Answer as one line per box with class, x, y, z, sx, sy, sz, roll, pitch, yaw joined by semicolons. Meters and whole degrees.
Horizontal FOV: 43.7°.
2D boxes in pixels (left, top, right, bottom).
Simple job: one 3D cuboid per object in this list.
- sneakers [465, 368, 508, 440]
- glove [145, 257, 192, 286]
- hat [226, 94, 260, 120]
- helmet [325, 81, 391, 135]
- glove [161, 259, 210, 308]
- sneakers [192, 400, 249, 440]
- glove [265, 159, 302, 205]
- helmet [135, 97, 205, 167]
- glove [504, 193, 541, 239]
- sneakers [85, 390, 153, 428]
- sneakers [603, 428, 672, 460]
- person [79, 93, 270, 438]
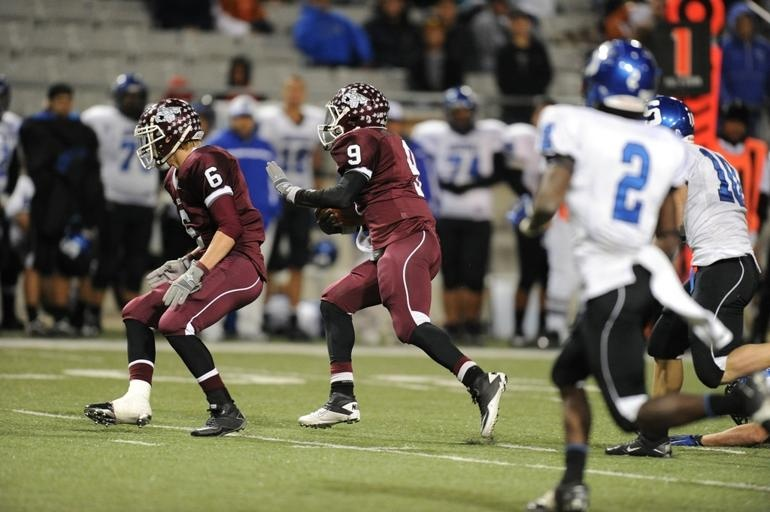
sneakers;0.686;0.966;6.340;0.260;0.541;0.178;6;-10;-1
glove;-1.492;0.110;6.611;0.289;0.181;0.095;-25;3;-8
hat;-1.671;-1.769;11.199;0.305;0.248;0.316;4;6;24
helmet;-0.193;-1.057;6.809;0.389;0.327;0.321;6;8;16
glove;-1.304;0.185;6.254;0.210;0.352;0.097;30;4;-1
sneakers;-1.071;1.076;6.298;0.432;0.230;0.155;-1;-2;-17
glove;-0.712;-0.527;6.657;0.152;0.147;0.471;-14;49;-33
helmet;-1.472;-0.859;6.676;0.466;0.463;0.408;-1;4;-3
glove;0.786;-0.233;5.482;0.242;0.346;0.148;4;4;0
sneakers;-1.695;1.028;6.262;0.464;0.274;0.183;9;-26;-11
sneakers;1.642;1.212;6.181;0.498;0.210;0.171;3;-7;1
person;-1.332;0.081;6.435;1.038;2.235;0.733;0;8;-8
